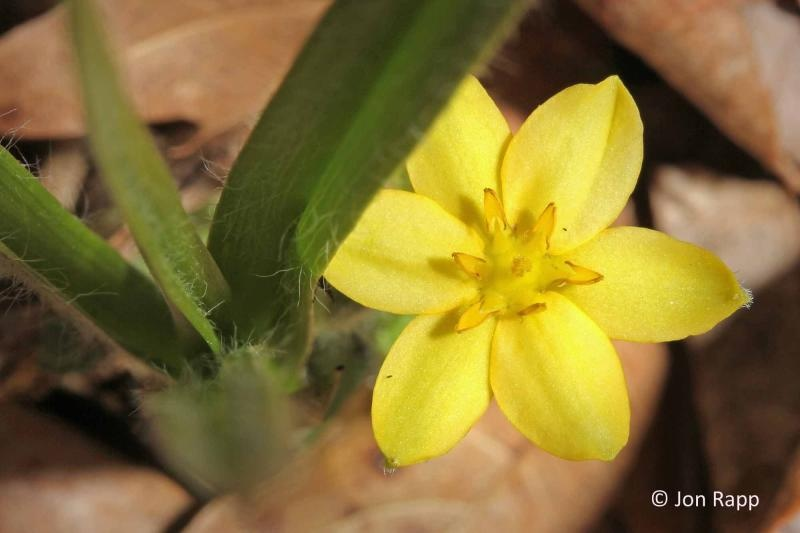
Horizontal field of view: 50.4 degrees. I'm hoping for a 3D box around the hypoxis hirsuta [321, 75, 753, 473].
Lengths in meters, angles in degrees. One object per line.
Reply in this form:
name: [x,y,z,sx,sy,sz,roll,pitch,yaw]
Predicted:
hypoxis hirsuta: [0.079,0.009,0.546,0.247,0.147,0.222,-36,66,-29]
